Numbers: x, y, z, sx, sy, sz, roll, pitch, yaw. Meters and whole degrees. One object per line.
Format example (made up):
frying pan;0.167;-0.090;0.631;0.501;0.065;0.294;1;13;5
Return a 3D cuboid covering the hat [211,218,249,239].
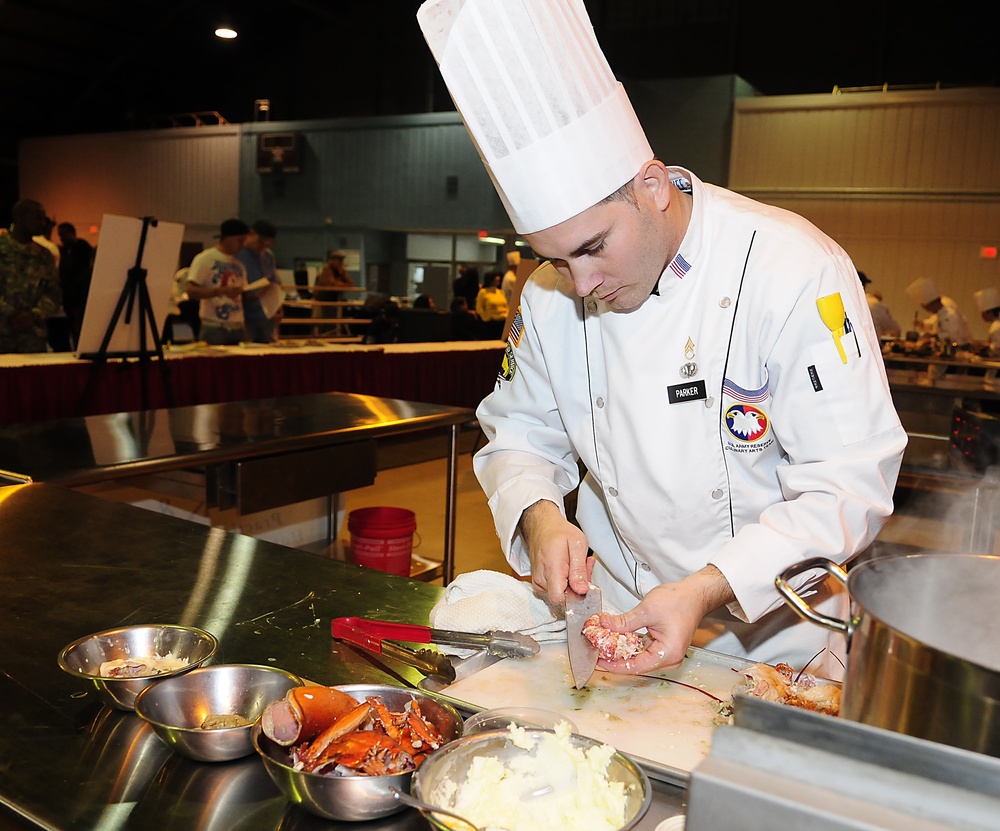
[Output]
hat;-1.935;-1.335;5.412;0.177;0.163;0.297;-2;10;-24

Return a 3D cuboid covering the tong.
tong;-0.112;0.316;1.056;0.191;0.045;0.112;6;16;34

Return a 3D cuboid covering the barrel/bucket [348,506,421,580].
barrel/bucket;-0.486;0.556;3.112;0.292;0.315;0.280;0;3;0
